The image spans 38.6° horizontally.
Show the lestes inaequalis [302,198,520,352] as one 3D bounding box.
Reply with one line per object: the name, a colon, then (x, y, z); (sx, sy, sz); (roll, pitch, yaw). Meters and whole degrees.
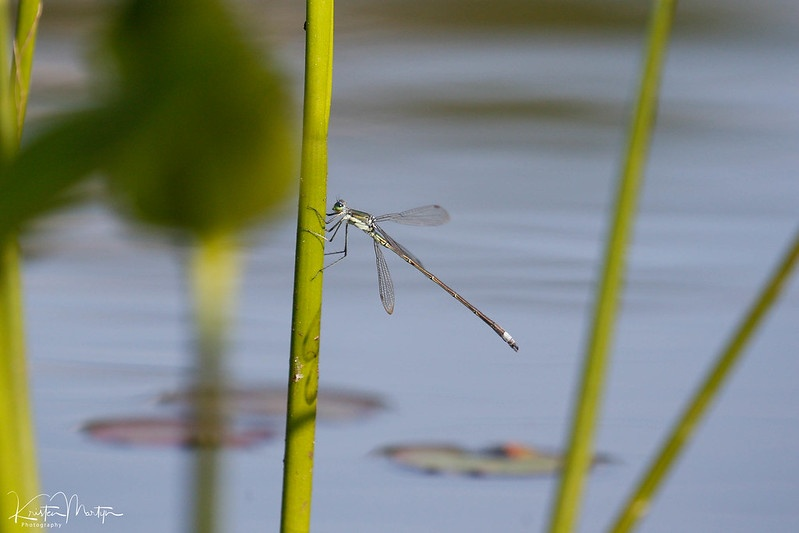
lestes inaequalis: (0.055, 0.002, 2.392); (0.417, 0.317, 0.164); (12, -40, -9)
